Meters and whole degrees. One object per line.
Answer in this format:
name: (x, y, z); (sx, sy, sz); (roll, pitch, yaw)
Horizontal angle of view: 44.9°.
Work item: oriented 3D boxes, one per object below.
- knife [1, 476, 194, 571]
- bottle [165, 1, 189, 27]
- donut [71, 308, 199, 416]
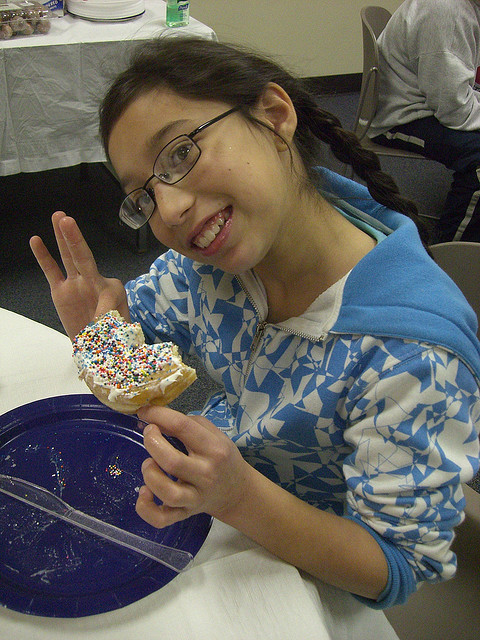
knife: (-0.204, 0.295, 0.824); (0.288, 0.022, 0.030); (22, 65, 11)
bottle: (-0.275, -1.323, 2.507); (0.099, 0.107, 0.110); (1, 45, -8)
donut: (-0.189, 0.070, 0.961); (0.148, 0.063, 0.230); (-38, 51, -26)
